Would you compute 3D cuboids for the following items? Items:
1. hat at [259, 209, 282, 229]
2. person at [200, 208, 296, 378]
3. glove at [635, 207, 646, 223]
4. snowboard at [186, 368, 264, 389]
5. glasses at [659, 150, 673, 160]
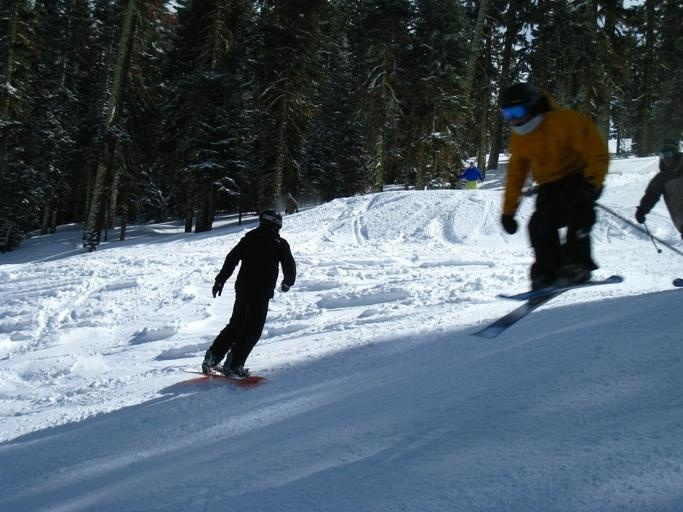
[{"bbox_3d":[-0.831,-0.463,7.499,0.245,0.216,0.259,11,15,8],"label":"hat"},{"bbox_3d":[-1.091,0.412,7.317,1.101,1.960,0.676,0,3,-11],"label":"person"},{"bbox_3d":[4.590,-0.626,9.493,0.236,0.256,0.066,8,-8,-24],"label":"glove"},{"bbox_3d":[-1.336,1.404,7.056,1.107,0.113,0.285,-3,25,18],"label":"snowboard"},{"bbox_3d":[4.907,-1.531,9.265,0.117,0.088,0.133,0,-8,34],"label":"glasses"}]
